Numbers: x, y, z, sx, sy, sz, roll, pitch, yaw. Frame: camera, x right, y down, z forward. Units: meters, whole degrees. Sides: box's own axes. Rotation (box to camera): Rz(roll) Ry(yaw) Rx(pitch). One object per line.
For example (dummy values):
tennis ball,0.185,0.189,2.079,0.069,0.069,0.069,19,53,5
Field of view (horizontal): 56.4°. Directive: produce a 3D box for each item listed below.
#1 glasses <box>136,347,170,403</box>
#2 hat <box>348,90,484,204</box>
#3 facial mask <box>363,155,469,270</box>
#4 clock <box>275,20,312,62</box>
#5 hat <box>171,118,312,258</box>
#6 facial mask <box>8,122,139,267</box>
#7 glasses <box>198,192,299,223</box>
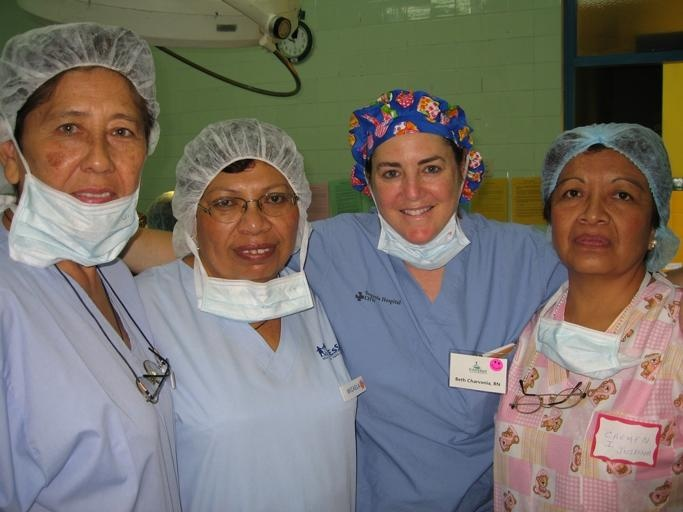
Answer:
glasses,-0.548,0.333,1.804,0.036,0.120,0.119,25,40,-7
hat,0.169,-0.450,2.338,0.480,0.168,0.481,-12,11,-3
facial mask,0.263,-0.094,2.148,0.380,0.185,0.413,0,-24,9
clock,-0.428,-1.947,5.859,0.185,0.352,0.400,-15,17,-41
hat,-0.370,-0.195,2.074,0.375,0.482,0.152,4,11,-3
facial mask,-0.755,-0.116,1.762,0.327,0.169,0.332,-7,56,-49
glasses,-0.293,-0.155,2.028,0.289,0.082,0.090,-7,13,-13
